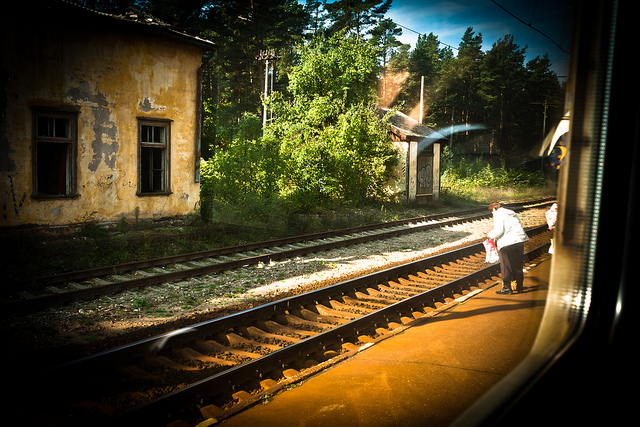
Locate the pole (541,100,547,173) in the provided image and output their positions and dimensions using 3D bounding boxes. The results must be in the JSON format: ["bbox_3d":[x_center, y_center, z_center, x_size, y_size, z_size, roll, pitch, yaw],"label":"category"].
[{"bbox_3d":[2.624,-0.930,5.494,0.024,0.742,0.882,3,5,25],"label":"pole"}]
